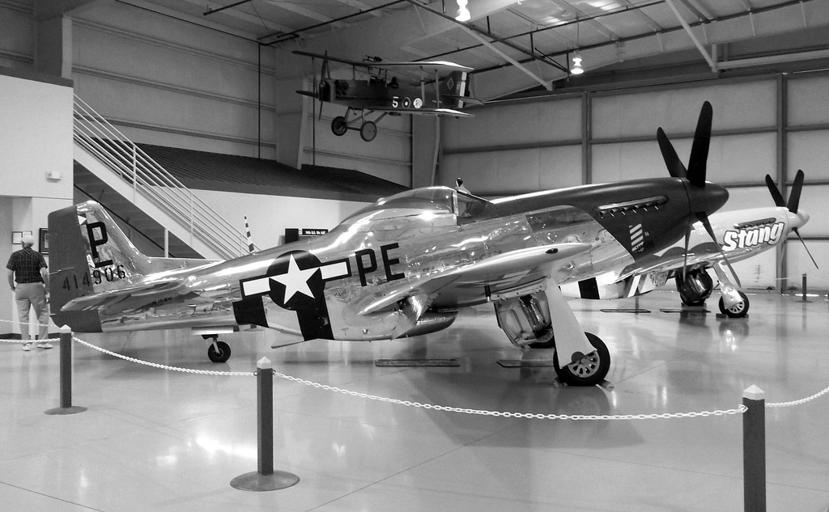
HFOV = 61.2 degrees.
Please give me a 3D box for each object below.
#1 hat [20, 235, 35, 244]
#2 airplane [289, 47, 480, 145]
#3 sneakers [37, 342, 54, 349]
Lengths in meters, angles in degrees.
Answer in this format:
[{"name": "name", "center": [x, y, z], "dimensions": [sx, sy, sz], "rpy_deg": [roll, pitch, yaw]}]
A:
[{"name": "hat", "center": [-7.618, -0.325, 13.846], "dimensions": [0.177, 0.205, 0.236], "rpy_deg": [5, 6, 44]}, {"name": "airplane", "center": [-0.748, -5.155, 22.352], "dimensions": [4.186, 1.534, 4.412], "rpy_deg": [-2, 7, -22]}, {"name": "sneakers", "center": [-7.449, 1.775, 14.216], "dimensions": [0.367, 0.142, 0.140], "rpy_deg": [1, 10, -13]}]
